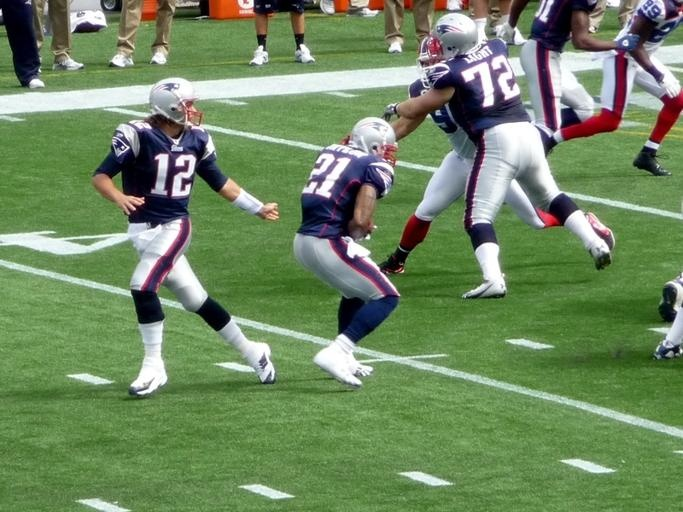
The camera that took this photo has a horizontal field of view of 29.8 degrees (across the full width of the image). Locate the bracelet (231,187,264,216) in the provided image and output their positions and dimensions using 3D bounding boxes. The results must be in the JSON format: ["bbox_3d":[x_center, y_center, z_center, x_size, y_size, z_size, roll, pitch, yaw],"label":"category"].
[{"bbox_3d":[-0.520,-0.292,7.105,0.167,0.125,0.069,37,-15,-14],"label":"bracelet"}]

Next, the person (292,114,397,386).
[{"bbox_3d":[0.025,-0.016,7.020,0.570,1.372,0.817,1,16,-2],"label":"person"}]

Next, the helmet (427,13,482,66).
[{"bbox_3d":[0.739,-1.406,8.216,0.344,0.270,0.249,28,59,7],"label":"helmet"}]

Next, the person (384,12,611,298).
[{"bbox_3d":[1.041,-0.633,8.099,1.258,1.678,0.905,8,17,21],"label":"person"}]

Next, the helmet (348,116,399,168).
[{"bbox_3d":[0.231,-0.645,7.270,0.353,0.262,0.228,3,28,-20],"label":"helmet"}]

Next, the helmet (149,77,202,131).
[{"bbox_3d":[-0.898,-0.815,6.877,0.252,0.255,0.272,2,15,-1],"label":"helmet"}]

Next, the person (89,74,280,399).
[{"bbox_3d":[-0.851,-0.107,6.870,0.950,1.626,0.651,-1,17,-10],"label":"person"}]

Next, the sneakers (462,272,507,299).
[{"bbox_3d":[0.950,0.201,7.962,0.371,0.154,0.113,-3,11,17],"label":"sneakers"}]

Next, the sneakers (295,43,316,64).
[{"bbox_3d":[-0.516,-2.685,17.133,0.161,0.169,0.412,-12,21,-21],"label":"sneakers"}]

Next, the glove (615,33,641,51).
[{"bbox_3d":[2.343,-1.725,10.447,0.237,0.141,0.159,-1,15,-12],"label":"glove"}]

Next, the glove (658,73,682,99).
[{"bbox_3d":[2.817,-1.439,11.004,0.155,0.251,0.076,-51,20,-23],"label":"glove"}]

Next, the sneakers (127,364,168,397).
[{"bbox_3d":[-1.020,0.669,6.802,0.103,0.101,0.252,5,11,25],"label":"sneakers"}]
